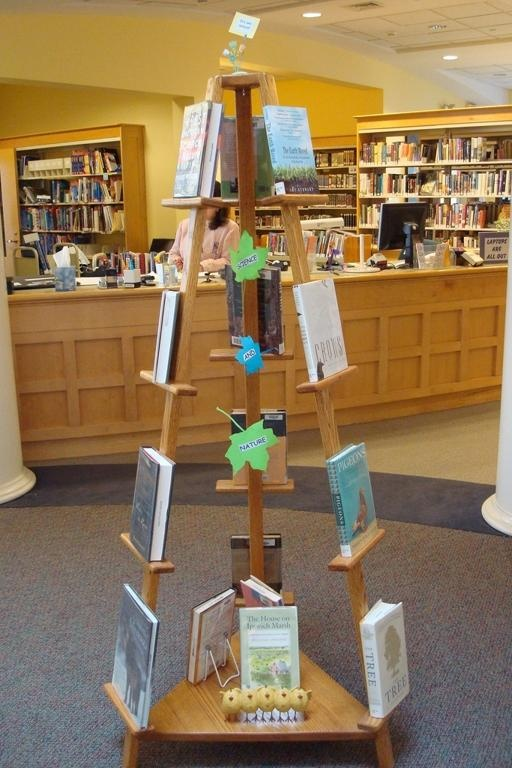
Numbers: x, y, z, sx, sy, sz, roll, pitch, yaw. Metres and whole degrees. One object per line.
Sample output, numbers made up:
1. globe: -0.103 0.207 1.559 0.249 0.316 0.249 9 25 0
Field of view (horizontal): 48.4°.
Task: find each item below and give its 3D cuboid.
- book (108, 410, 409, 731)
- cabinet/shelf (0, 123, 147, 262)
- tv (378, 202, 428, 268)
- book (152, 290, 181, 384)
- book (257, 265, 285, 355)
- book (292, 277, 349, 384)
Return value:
1. book: 0.010 0.626 1.927 0.700 0.829 0.655 8 13 43
2. cabinet/shelf: -3.053 -3.067 9.117 3.228 1.845 0.597 8 21 32
3. tv: 1.337 -1.395 5.258 0.403 0.526 0.634 2 18 16
4. book: -0.235 -0.092 1.427 0.021 0.171 0.128 5 6 -30
5. book: 0.009 -0.198 1.561 0.159 0.217 0.024 5 10 44
6. book: 0.159 -0.140 1.394 0.115 0.229 0.306 3 19 19
